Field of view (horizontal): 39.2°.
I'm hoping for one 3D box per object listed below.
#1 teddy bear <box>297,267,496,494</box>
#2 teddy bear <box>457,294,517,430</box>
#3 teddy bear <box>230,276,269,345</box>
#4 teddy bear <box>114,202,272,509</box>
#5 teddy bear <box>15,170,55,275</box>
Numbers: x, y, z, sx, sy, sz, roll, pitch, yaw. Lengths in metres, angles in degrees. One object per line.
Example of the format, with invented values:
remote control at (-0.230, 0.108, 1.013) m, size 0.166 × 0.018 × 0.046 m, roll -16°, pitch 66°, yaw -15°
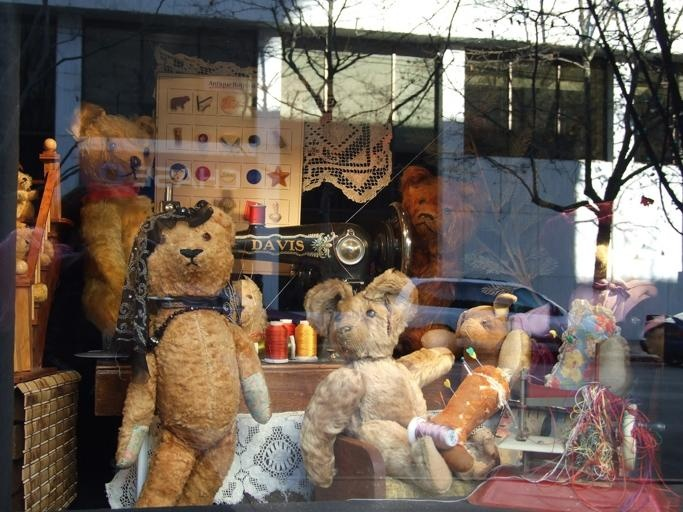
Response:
teddy bear at (0.126, 0.423, 3.290) m, size 0.536 × 0.681 × 0.394 m, roll 3°, pitch 15°, yaw 2°
teddy bear at (0.519, 0.318, 3.477) m, size 0.224 × 0.345 × 0.177 m, roll 34°, pitch -35°, yaw -25°
teddy bear at (-0.316, 0.186, 3.367) m, size 0.072 × 0.218 × 0.126 m, roll -7°, pitch 0°, yaw 34°
teddy bear at (-0.503, 0.342, 3.289) m, size 0.520 × 0.981 × 0.307 m, roll -2°, pitch 15°, yaw -15°
teddy bear at (-1.085, -0.111, 3.292) m, size 0.086 × 0.343 × 0.256 m, roll 5°, pitch 15°, yaw 11°
